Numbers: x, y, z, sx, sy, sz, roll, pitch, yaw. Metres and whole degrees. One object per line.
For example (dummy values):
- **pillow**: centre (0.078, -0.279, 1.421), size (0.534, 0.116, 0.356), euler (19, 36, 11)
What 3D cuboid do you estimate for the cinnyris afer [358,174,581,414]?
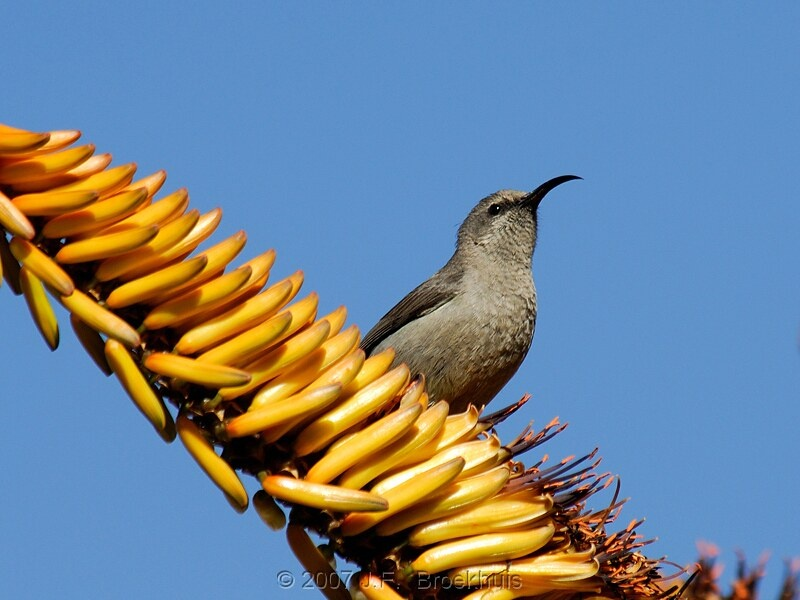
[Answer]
- **cinnyris afer**: centre (0.285, 0.117, 8.236), size (0.935, 0.960, 0.404), euler (-15, -61, 14)
